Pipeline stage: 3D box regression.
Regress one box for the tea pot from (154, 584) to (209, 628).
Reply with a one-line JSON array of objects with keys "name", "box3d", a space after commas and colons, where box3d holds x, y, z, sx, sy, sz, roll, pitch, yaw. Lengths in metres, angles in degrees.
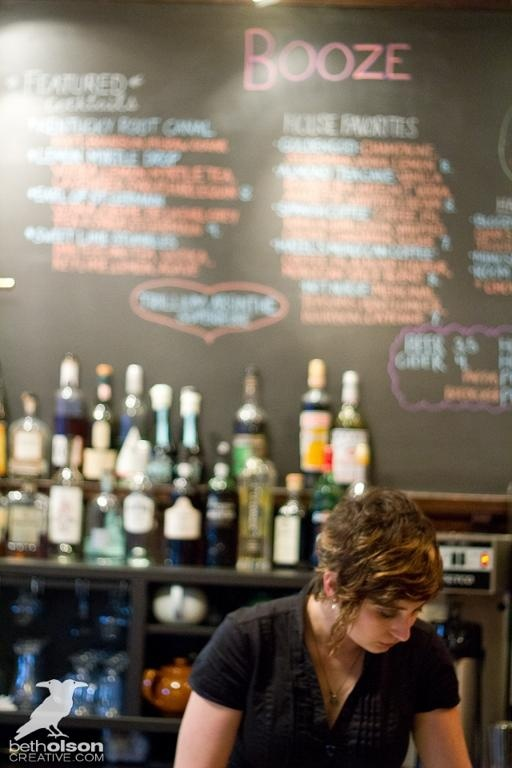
[{"name": "tea pot", "box3d": [-0.216, 0.644, 2.338, 0.126, 0.090, 0.161, 14, -15, -41]}]
